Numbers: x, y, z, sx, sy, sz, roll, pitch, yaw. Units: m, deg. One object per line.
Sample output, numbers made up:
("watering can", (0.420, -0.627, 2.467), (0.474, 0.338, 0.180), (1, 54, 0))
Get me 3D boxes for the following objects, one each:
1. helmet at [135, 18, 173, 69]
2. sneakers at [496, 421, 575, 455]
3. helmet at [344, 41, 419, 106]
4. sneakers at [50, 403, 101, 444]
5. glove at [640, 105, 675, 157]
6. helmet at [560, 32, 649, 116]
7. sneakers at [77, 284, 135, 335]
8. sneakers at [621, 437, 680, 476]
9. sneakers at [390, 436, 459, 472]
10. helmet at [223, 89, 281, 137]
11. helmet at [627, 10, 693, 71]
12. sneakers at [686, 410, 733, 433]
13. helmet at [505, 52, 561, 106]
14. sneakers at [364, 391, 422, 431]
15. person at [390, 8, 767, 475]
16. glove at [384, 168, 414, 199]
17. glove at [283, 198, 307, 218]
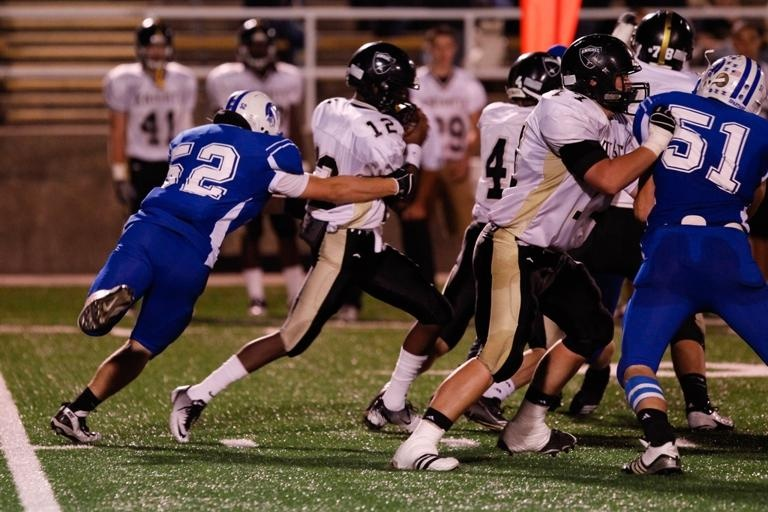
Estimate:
("helmet", (-2.060, -1.903, 8.247), (0.309, 0.457, 0.320), (-2, 7, -14))
("sneakers", (0.747, 0.920, 4.573), (0.394, 0.184, 0.143), (-4, 3, 2))
("helmet", (0.083, -0.909, 4.795), (0.407, 0.304, 0.320), (7, 2, 26))
("sneakers", (-1.544, 0.860, 4.640), (0.099, 0.171, 0.286), (-11, -40, 32))
("glove", (1.254, -0.560, 4.213), (0.140, 0.231, 0.090), (37, -7, 14))
("helmet", (1.030, -0.877, 4.384), (0.454, 0.320, 0.307), (5, 13, -4))
("sneakers", (-1.359, 0.266, 4.458), (0.307, 0.168, 0.124), (-31, 2, 6))
("sneakers", (1.198, 0.918, 4.138), (0.122, 0.152, 0.338), (13, -24, -23))
("sneakers", (0.179, 0.927, 4.271), (0.344, 0.214, 0.115), (-1, -3, 9))
("helmet", (-0.681, -0.743, 4.786), (0.247, 0.251, 0.321), (2, 6, 30))
("helmet", (1.665, -1.280, 5.474), (0.392, 0.393, 0.475), (9, 27, 9))
("sneakers", (1.750, 0.894, 4.951), (0.276, 0.103, 0.093), (1, -3, -2))
("helmet", (0.839, -1.015, 5.126), (0.288, 0.281, 0.382), (13, 29, 37))
("sneakers", (0.081, 0.859, 4.982), (0.378, 0.166, 0.129), (13, 6, -5))
("person", (0.769, -0.029, 4.328), (1.241, 2.011, 0.619), (0, 7, -1))
("glove", (0.082, -0.380, 4.677), (0.082, 0.082, 0.210), (-1, 38, 13))
("glove", (-0.458, -0.248, 4.861), (0.121, 0.102, 0.079), (11, 11, 19))
